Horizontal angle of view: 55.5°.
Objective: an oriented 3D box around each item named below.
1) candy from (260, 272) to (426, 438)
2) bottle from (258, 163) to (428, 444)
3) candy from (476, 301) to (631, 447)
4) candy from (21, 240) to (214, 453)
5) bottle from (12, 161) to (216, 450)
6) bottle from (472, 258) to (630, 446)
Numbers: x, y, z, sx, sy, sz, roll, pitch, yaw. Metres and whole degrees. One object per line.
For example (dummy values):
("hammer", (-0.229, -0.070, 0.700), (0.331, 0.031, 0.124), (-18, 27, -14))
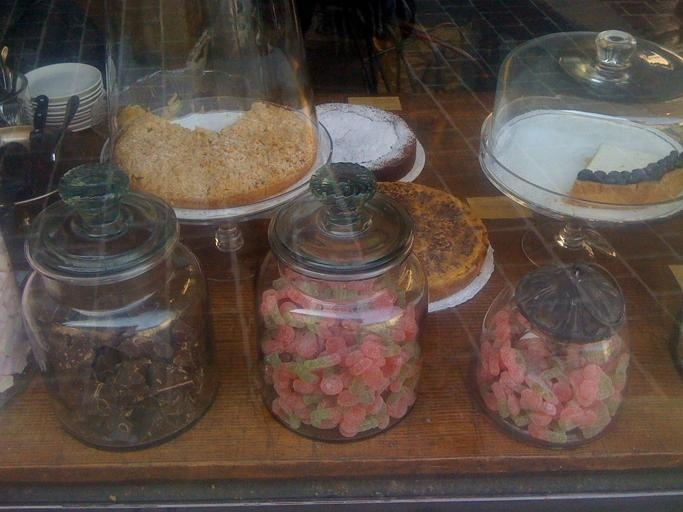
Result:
("candy", (-0.030, 0.131, 1.028), (0.250, 0.231, 0.249), (-8, 37, -13))
("bottle", (-0.005, 0.079, 0.915), (0.236, 0.329, 0.236), (1, 42, -1))
("candy", (0.286, 0.197, 1.047), (0.218, 0.198, 0.205), (-9, 46, -8))
("candy", (-0.286, 0.112, 1.032), (0.302, 0.305, 0.282), (-7, 40, -11))
("bottle", (-0.316, 0.080, 0.900), (0.246, 0.363, 0.238), (3, 46, -3))
("bottle", (0.334, 0.132, 1.045), (0.208, 0.170, 0.286), (23, 49, 26))
